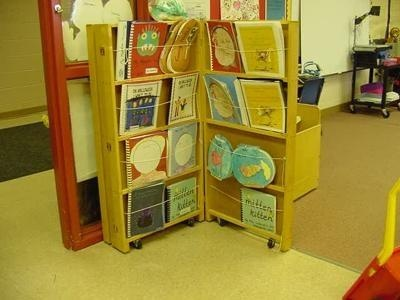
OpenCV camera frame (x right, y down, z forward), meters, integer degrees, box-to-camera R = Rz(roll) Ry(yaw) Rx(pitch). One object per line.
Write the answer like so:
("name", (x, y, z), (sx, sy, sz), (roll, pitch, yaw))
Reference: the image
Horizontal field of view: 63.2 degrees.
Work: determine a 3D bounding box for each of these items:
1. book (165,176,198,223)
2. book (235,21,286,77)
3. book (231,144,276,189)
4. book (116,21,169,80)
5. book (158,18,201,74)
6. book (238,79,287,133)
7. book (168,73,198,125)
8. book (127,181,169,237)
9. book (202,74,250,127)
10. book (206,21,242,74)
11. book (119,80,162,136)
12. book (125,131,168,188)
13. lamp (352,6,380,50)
("book", (-0.157, 0.388, 2.606), (0.049, 0.307, 0.341), (14, 23, 39))
("book", (0.404, -0.665, 2.118), (0.337, 0.339, 0.050), (19, 41, 37))
("book", (0.398, 0.111, 2.364), (0.270, 0.283, 0.047), (14, 23, 38))
("book", (-0.390, -0.666, 2.150), (0.118, 0.325, 0.320), (27, 34, 36))
("book", (-0.171, -0.782, 2.357), (0.135, 0.436, 0.219), (16, 0, 40))
("book", (0.438, -0.310, 2.228), (0.312, 0.330, 0.056), (17, 37, 42))
("book", (-0.136, -0.391, 2.440), (0.055, 0.341, 0.301), (21, 28, 27))
("book", (-0.396, 0.423, 2.403), (0.375, 0.436, 0.055), (-12, 22, -37))
("book", (0.202, -0.374, 2.403), (0.055, 0.340, 0.325), (-27, 31, -33))
("book", (0.178, -0.737, 2.319), (0.056, 0.398, 0.305), (-27, 33, -37))
("book", (-0.418, -0.295, 2.234), (0.322, 0.357, 0.049), (-16, 36, -42))
("book", (-0.392, 0.058, 2.325), (0.337, 0.353, 0.058), (-13, 22, -38))
("lamp", (2.909, -2.164, 5.727), (0.334, 0.649, 0.659), (19, 31, 36))
